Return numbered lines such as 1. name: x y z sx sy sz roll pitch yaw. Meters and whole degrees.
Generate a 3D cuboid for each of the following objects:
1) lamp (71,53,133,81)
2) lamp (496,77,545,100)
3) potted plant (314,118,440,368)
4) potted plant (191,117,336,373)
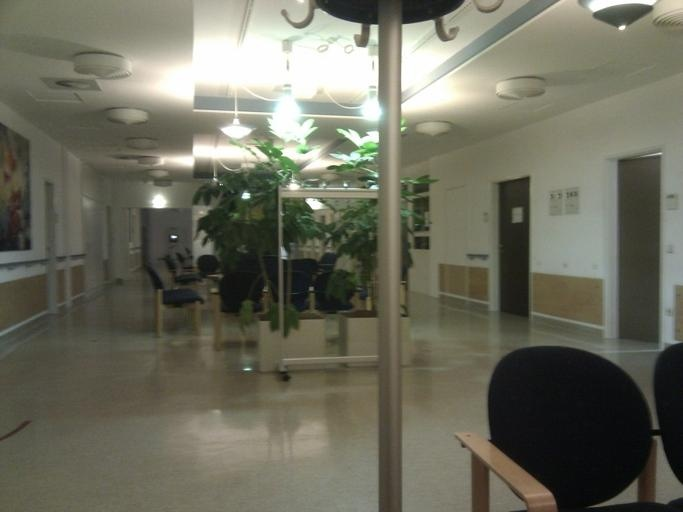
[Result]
1. lamp: -1.523 -1.213 3.398 0.238 0.156 0.397 2 8 7
2. lamp: 1.214 -1.134 3.584 0.196 0.071 0.200 -1 1 43
3. potted plant: 0.232 -0.411 3.914 0.934 1.249 0.895 0 3 7
4. potted plant: -0.604 -0.377 4.099 1.017 1.586 0.948 -1 -3 -14
